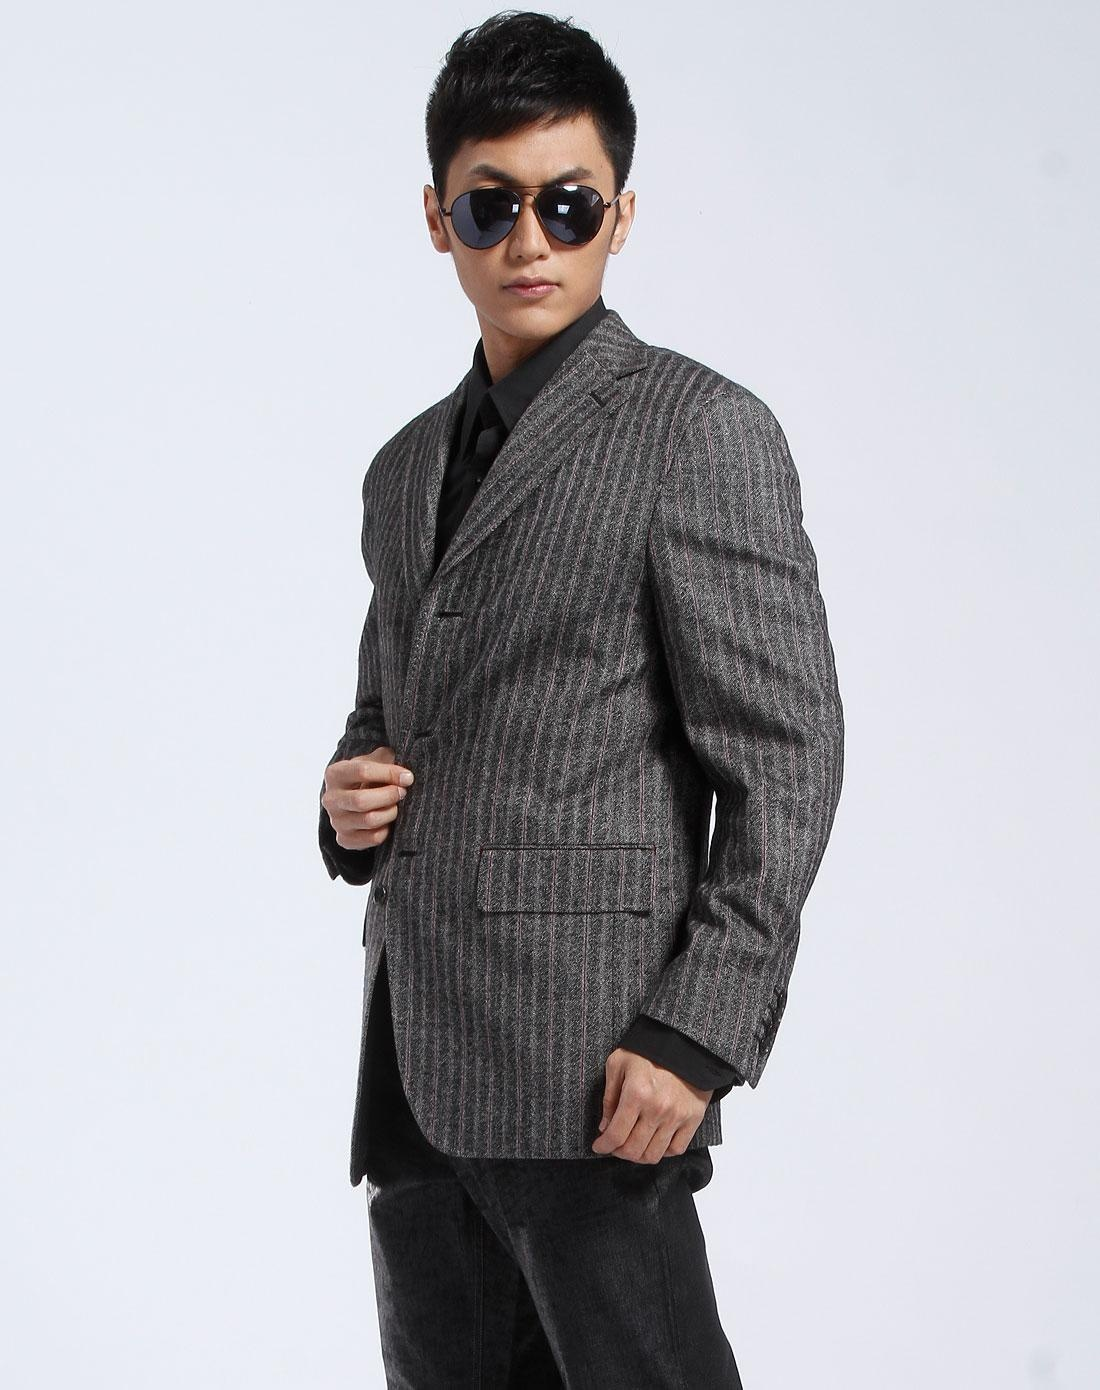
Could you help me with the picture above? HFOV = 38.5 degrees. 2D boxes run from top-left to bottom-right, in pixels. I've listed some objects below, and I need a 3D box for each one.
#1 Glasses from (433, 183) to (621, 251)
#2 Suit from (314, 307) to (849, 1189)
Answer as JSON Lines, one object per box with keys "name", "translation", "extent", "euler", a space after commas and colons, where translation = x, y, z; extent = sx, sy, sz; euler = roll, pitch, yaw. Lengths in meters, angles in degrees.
{"name": "Glasses", "translation": [-0.020, -0.457, 1.508], "extent": [0.116, 0.034, 0.106], "euler": [-2, 4, 3]}
{"name": "Suit", "translation": [0.029, 0.013, 1.473], "extent": [0.475, 0.775, 0.328], "euler": [-12, -38, 9]}
